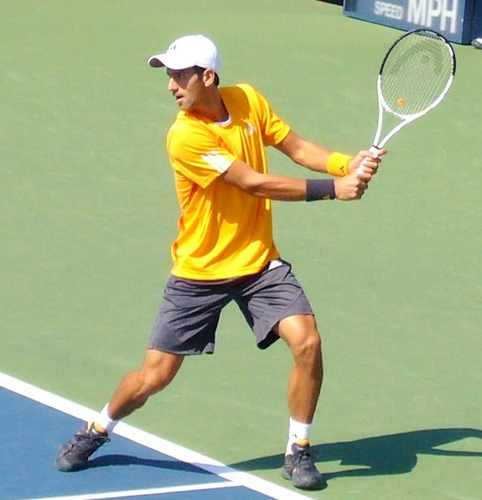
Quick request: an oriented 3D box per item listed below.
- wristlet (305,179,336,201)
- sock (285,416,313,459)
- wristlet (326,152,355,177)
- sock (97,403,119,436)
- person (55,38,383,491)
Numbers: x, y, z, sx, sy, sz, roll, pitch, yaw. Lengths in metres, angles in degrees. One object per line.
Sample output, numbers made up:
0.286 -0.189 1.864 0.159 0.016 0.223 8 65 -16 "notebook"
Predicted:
0.363 -0.283 3.482 0.146 0.089 0.090 -6 23 -8 "wristlet"
0.243 0.869 3.547 0.109 0.195 0.170 -6 18 -21 "sock"
0.499 -0.434 3.788 0.141 0.105 0.162 2 -1 7 "wristlet"
-0.655 0.840 3.715 0.116 0.120 0.073 -3 8 4 "sock"
-0.030 0.030 3.651 1.275 2.062 0.945 5 18 13 "person"
